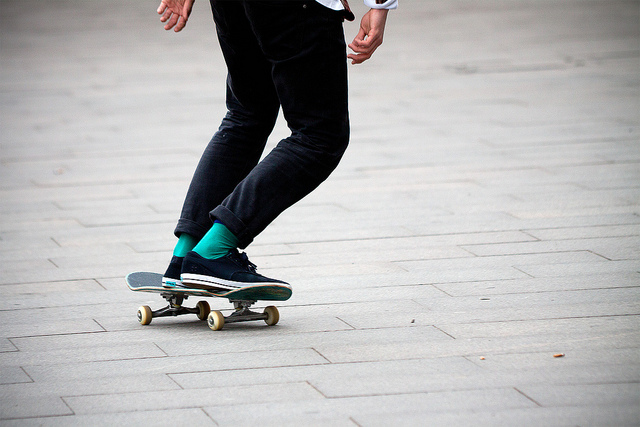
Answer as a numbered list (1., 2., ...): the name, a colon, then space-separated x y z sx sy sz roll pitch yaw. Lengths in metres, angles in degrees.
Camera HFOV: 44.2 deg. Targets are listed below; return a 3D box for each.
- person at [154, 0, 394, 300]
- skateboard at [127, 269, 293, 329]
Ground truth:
1. person: -0.290 -0.237 3.300 0.535 1.311 0.608 4 18 -34
2. skateboard: -0.478 0.372 3.338 0.788 0.114 0.259 0 -1 24
